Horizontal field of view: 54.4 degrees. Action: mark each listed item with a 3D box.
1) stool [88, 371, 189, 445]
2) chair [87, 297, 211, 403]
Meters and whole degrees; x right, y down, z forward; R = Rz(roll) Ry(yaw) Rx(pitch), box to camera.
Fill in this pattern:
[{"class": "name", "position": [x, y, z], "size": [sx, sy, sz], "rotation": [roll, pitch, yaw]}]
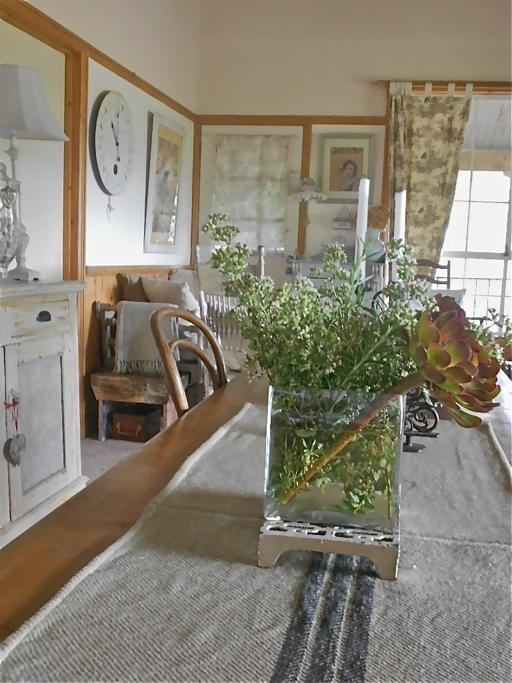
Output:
[{"class": "stool", "position": [-0.682, 0.370, 2.831], "size": [0.602, 0.456, 0.345], "rotation": [1, -3, 8]}, {"class": "chair", "position": [-0.655, 0.077, 2.954], "size": [0.641, 0.883, 0.473], "rotation": [5, 9, 13]}]
